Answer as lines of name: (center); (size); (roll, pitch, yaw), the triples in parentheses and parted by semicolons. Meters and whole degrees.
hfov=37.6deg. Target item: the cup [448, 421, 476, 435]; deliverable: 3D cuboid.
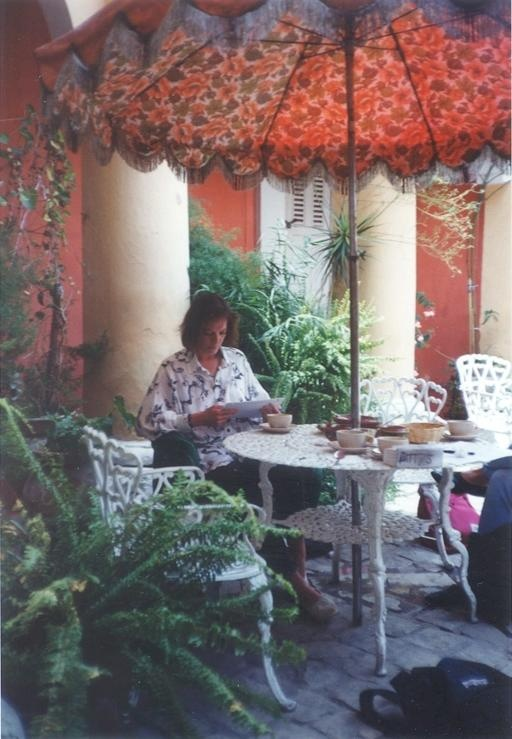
cup: (0.806, 0.219, 2.916); (0.078, 0.040, 0.064); (0, 1, 20)

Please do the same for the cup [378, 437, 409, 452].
cup: (0.458, 0.241, 2.521); (0.063, 0.037, 0.064); (2, 5, 0)

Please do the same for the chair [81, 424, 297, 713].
chair: (-0.306, 0.611, 2.844); (0.639, 0.902, 1.982); (-2, 5, -13)

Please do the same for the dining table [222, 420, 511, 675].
dining table: (0.294, 0.557, 2.845); (0.879, 0.631, 0.886); (-2, 1, -37)

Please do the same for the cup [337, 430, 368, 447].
cup: (0.332, 0.241, 2.631); (0.087, 0.035, 0.059); (4, -6, -31)

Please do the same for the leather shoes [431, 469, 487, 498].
leather shoes: (0.962, 0.523, 3.441); (0.311, 0.118, 0.103); (0, 1, 10)
